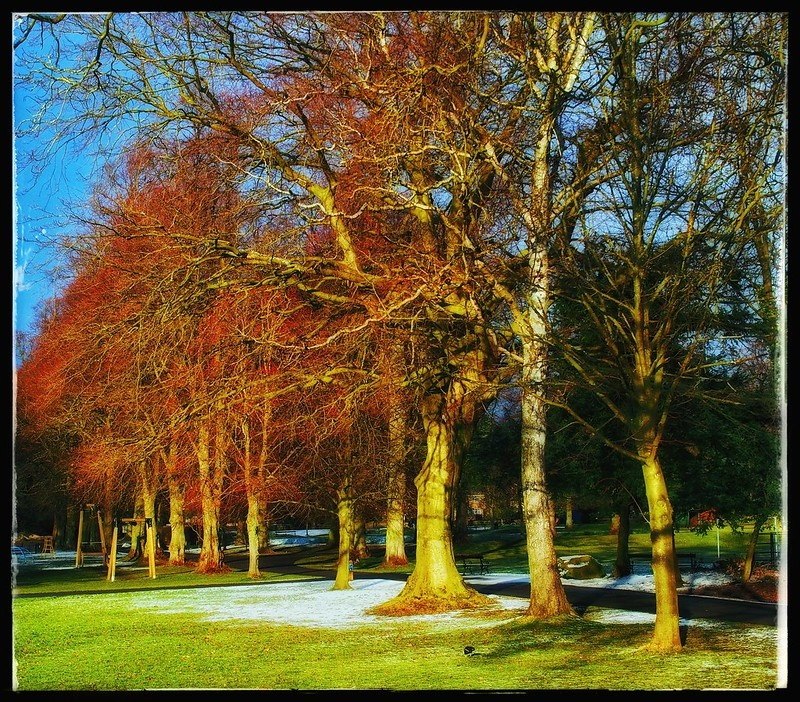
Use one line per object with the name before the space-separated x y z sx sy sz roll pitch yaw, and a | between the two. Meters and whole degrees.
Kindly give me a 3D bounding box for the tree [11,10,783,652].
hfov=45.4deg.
tree | 0.058 -0.081 18.253 12.358 12.213 9.921 -2 -4 15
